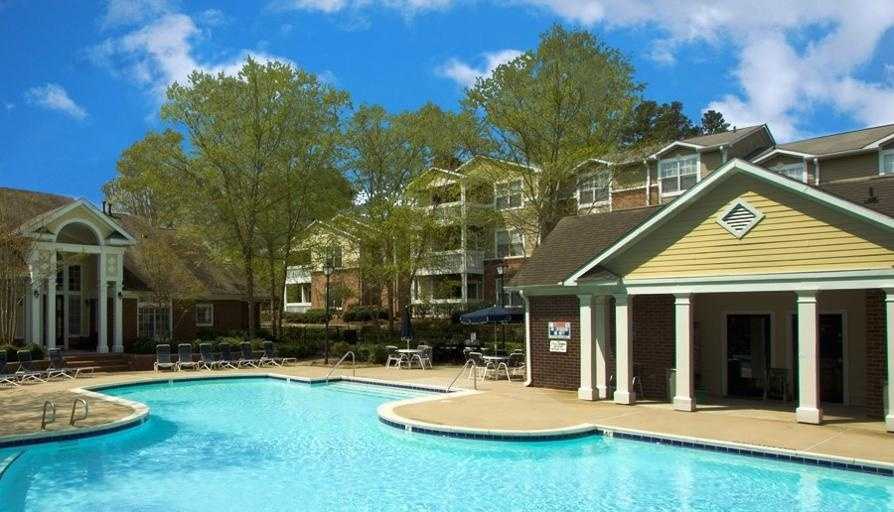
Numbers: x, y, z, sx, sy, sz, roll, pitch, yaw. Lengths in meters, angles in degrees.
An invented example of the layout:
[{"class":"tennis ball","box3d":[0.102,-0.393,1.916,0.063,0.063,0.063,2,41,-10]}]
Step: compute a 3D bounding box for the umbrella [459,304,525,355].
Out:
[{"class":"umbrella","box3d":[2.803,4.252,41.959,4.077,2.468,4.105,-1,-6,-1]}]
